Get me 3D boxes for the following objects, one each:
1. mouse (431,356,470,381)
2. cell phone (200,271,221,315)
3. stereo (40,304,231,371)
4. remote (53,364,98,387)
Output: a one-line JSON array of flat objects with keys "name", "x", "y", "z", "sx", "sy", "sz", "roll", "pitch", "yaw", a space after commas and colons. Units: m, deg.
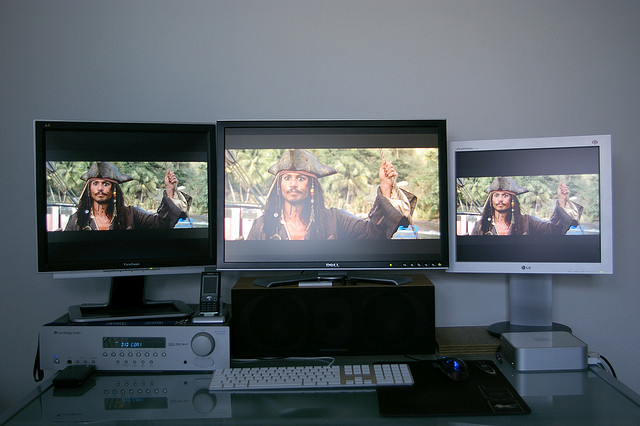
[{"name": "mouse", "x": 0.549, "y": 0.640, "z": 2.261, "sx": 0.075, "sy": 0.044, "sz": 0.123, "roll": -2, "pitch": 5, "yaw": -19}, {"name": "cell phone", "x": -0.480, "y": 0.360, "z": 2.422, "sx": 0.100, "sy": 0.202, "sz": 0.028, "roll": -3, "pitch": -12, "yaw": 17}, {"name": "stereo", "x": -0.759, "y": 0.560, "z": 2.299, "sx": 0.711, "sy": 0.207, "sz": 0.461, "roll": -2, "pitch": 4, "yaw": -4}, {"name": "remote", "x": -1.002, "y": 0.670, "z": 2.260, "sx": 0.142, "sy": 0.070, "sz": 0.081, "roll": 1, "pitch": 4, "yaw": 0}]
